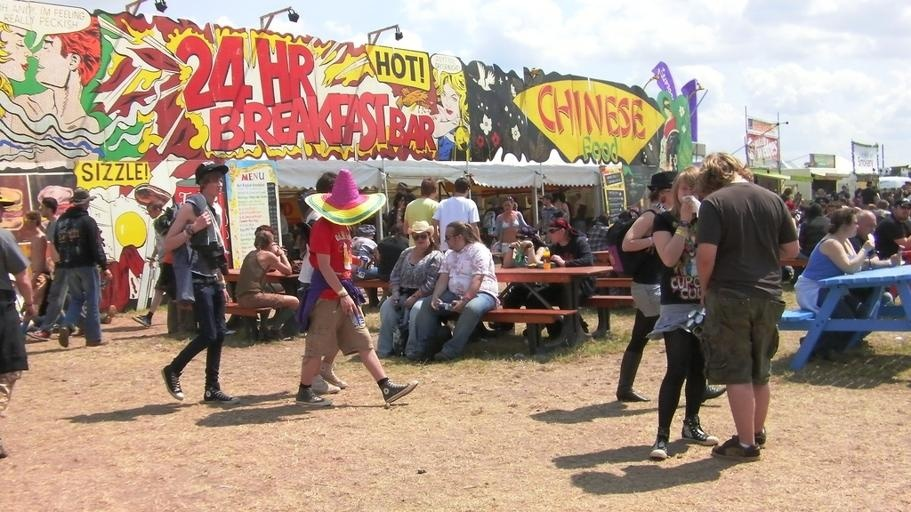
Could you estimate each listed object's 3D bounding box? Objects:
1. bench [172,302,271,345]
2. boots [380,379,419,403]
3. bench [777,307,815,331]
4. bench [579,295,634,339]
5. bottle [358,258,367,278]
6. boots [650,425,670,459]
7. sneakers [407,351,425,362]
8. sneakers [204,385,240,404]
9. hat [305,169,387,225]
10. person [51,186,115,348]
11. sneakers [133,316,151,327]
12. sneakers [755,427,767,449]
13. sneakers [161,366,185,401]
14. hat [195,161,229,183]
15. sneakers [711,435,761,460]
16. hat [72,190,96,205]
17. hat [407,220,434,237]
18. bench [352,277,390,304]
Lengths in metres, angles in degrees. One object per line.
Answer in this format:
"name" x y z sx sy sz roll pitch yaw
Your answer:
"bench" -3.982 1.178 12.781 1.997 0.441 0.877 3 -14 22
"boots" -0.711 1.751 9.410 0.456 0.270 0.165 -28 -2 7
"bench" 4.713 0.882 10.137 0.602 0.140 0.620 -1 11 -7
"bench" 2.475 0.876 11.809 1.106 0.599 0.758 3 12 25
"bottle" -1.599 0.219 13.149 0.128 0.321 0.252 8 10 -18
"boots" 2.276 2.058 8.057 0.167 0.287 0.448 8 7 21
"sneakers" -0.579 1.502 10.949 0.224 0.081 0.135 14 -12 -42
"sneakers" -3.060 1.813 9.564 0.556 0.279 0.185 -1 2 0
"hat" -1.344 -0.695 9.320 0.796 0.373 0.814 1 17 -1
"person" -6.069 0.216 11.938 0.814 2.560 0.636 -3 9 -16
"sneakers" -5.739 1.232 13.574 0.180 0.141 0.337 37 -5 10
"sneakers" 3.375 2.019 8.138 0.129 0.130 0.321 -1 3 14
"sneakers" -3.711 1.687 9.656 0.189 0.462 0.160 -30 -3 37
"hat" -3.108 -1.049 9.269 0.354 0.178 0.258 -29 0 14
"sneakers" 3.027 2.083 7.870 0.512 0.216 0.213 3 1 11
"hat" -6.372 -1.010 12.589 0.421 0.159 0.441 6 13 36
"hat" -0.513 -0.462 11.594 0.293 0.137 0.337 -1 -9 4
"bench" -1.533 0.570 13.803 0.591 0.370 0.839 1 -1 -19
